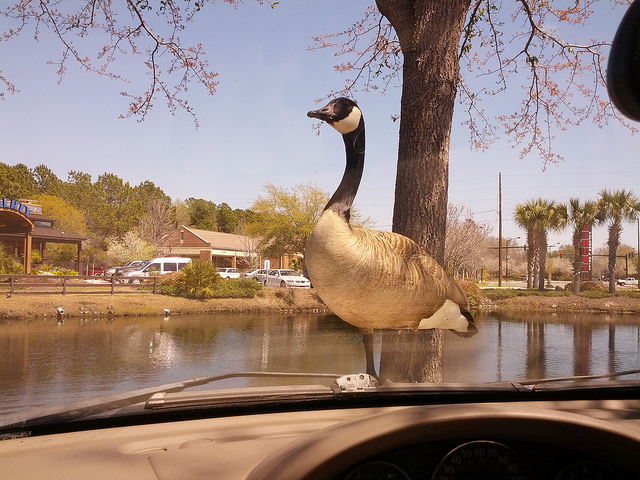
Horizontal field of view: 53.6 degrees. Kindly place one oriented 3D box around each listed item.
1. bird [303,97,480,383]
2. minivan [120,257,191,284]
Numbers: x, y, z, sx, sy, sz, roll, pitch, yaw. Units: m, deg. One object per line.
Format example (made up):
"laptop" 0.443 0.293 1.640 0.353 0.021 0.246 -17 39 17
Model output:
"bird" 0.521 0.002 4.844 1.329 2.100 0.392 2 -2 -31
"minivan" -8.095 1.342 31.824 3.226 1.227 1.853 3 -6 -17
